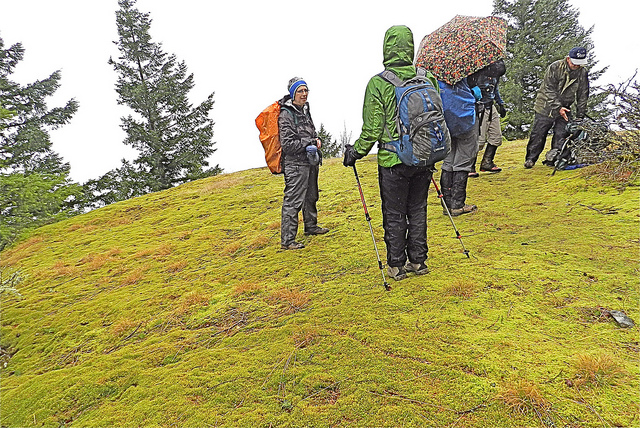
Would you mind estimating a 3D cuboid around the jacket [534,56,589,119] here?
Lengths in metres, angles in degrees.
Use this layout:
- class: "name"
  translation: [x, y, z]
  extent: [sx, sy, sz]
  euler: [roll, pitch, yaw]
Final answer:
- class: "jacket"
  translation: [6.040, -3.071, 11.668]
  extent: [1.174, 1.466, 0.456]
  euler: [-4, 14, 27]

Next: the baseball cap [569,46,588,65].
- class: "baseball cap"
  translation: [6.078, -3.752, 11.044]
  extent: [0.338, 0.248, 0.484]
  euler: [-2, 50, 1]
